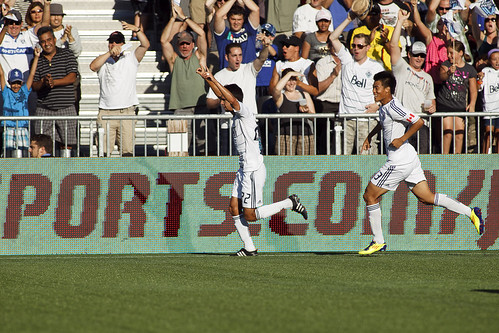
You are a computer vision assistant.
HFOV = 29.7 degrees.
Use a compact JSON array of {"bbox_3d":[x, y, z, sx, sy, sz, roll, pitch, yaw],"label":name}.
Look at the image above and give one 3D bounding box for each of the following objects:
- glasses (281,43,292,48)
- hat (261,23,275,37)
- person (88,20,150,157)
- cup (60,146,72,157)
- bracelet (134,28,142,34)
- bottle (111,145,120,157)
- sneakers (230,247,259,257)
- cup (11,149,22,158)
[{"bbox_3d":[0.769,-2.442,18.981,0.223,0.112,0.146,1,5,-9],"label":"glasses"},{"bbox_3d":[0.414,-2.824,19.358,0.205,0.190,0.327,17,-7,28],"label":"hat"},{"bbox_3d":[-2.634,-1.250,18.865,1.067,3.323,0.794,0,-14,-6],"label":"person"},{"bbox_3d":[-3.533,-0.288,18.000,0.204,0.167,0.220,0,3,0],"label":"cup"},{"bbox_3d":[-2.248,-2.744,18.913,0.107,0.055,0.081,-16,-12,-15],"label":"bracelet"},{"bbox_3d":[-2.648,-0.316,18.482,0.160,0.137,0.235,1,34,3],"label":"bottle"},{"bbox_3d":[-0.091,1.496,16.572,0.440,0.203,0.159,4,-4,12],"label":"sneakers"},{"bbox_3d":[-4.430,-0.242,17.820,0.166,0.139,0.169,0,-2,0],"label":"cup"}]
